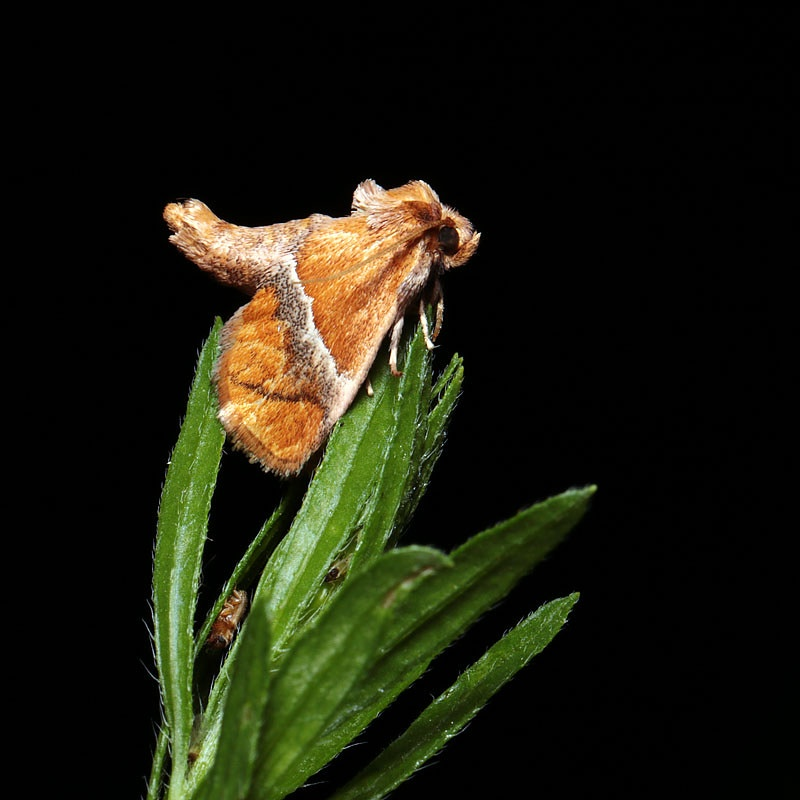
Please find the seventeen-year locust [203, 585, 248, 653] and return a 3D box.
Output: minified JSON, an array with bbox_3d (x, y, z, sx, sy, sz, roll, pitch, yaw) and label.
[{"bbox_3d":[-0.328,0.403,1.948,0.105,0.066,0.170,-8,-1,-4],"label":"seventeen-year locust"}]
